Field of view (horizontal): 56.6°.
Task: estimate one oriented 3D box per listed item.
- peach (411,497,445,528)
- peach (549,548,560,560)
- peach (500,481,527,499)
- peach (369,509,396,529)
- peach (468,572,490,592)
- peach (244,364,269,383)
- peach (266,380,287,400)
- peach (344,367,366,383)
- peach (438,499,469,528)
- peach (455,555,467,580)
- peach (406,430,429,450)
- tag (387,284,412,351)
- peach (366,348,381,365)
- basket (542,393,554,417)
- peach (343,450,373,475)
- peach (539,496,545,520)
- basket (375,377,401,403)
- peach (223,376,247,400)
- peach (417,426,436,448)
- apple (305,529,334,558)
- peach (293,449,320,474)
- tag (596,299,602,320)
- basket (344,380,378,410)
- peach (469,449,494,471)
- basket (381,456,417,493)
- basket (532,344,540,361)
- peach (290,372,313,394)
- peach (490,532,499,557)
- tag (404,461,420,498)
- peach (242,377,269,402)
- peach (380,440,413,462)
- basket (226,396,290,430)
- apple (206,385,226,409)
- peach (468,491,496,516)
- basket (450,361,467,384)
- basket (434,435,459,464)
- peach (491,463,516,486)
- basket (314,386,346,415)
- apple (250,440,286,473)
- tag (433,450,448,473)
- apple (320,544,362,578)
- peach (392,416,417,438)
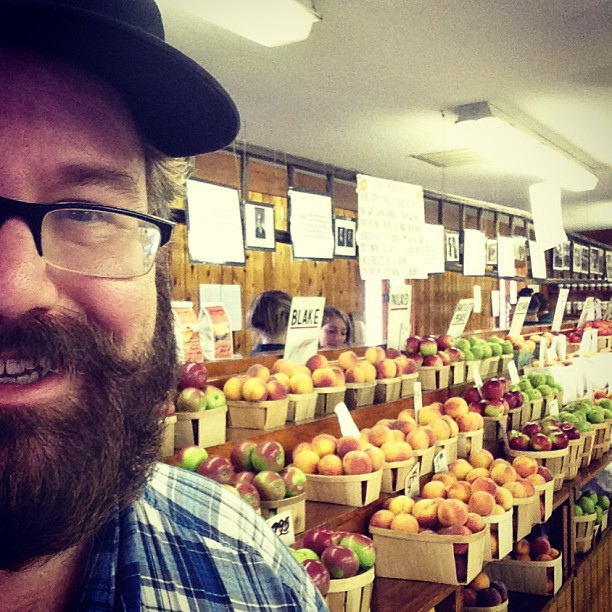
[{"bbox_3d":[0.455,0.769,2.127,0.101,0.050,0.099,-10,2,9],"label":"peach"},{"bbox_3d":[1.316,1.314,3.018,0.047,0.044,0.043,3,11,18],"label":"peach"},{"bbox_3d":[0.920,0.809,2.518,0.093,0.039,0.081,0,12,-9],"label":"peach"},{"bbox_3d":[0.283,0.780,2.104,0.062,0.051,0.061,17,26,28],"label":"peach"},{"bbox_3d":[0.795,1.265,2.601,0.086,0.039,0.076,-20,-4,-12],"label":"peach"},{"bbox_3d":[-0.209,0.282,2.407,0.078,0.055,0.078,-7,12,-11],"label":"peach"},{"bbox_3d":[-0.109,0.339,2.279,0.075,0.071,0.069,-3,-2,4],"label":"peach"},{"bbox_3d":[0.224,0.323,2.640,0.082,0.072,0.091,27,-7,-10],"label":"peach"},{"bbox_3d":[0.543,0.765,2.104,0.110,0.087,0.104,2,3,12],"label":"peach"},{"bbox_3d":[0.545,0.917,2.001,0.044,0.063,0.073,5,2,22],"label":"peach"},{"bbox_3d":[0.466,0.562,2.380,0.087,0.072,0.075,27,-20,-16],"label":"peach"},{"bbox_3d":[0.596,0.087,3.509,0.019,0.429,0.193,-1,-2,-33],"label":"tag"},{"bbox_3d":[0.337,0.251,2.842,0.084,0.066,0.074,4,-11,-2],"label":"peach"},{"bbox_3d":[1.600,0.655,3.765,0.119,0.145,0.031,-1,4,-44],"label":"basket"},{"bbox_3d":[0.197,0.571,2.079,0.096,0.079,0.046,8,-31,-9],"label":"peach"},{"bbox_3d":[1.118,0.958,2.697,0.019,0.098,0.037,4,4,34],"label":"peach"},{"bbox_3d":[0.408,0.414,2.827,0.111,0.067,0.147,1,1,-1],"label":"basket"},{"bbox_3d":[-0.290,0.326,2.273,0.094,0.088,0.083,10,-29,-10],"label":"peach"},{"bbox_3d":[0.524,0.576,2.488,0.091,0.070,0.076,-7,-4,10],"label":"peach"},{"bbox_3d":[0.035,0.734,1.767,0.072,0.067,0.065,6,2,12],"label":"apple"},{"bbox_3d":[0.017,0.590,2.176,0.088,0.093,0.081,-33,-25,-1],"label":"peach"},{"bbox_3d":[4.346,0.045,8.456,0.062,0.281,0.392,3,3,27],"label":"tag"},{"bbox_3d":[0.255,0.422,2.701,0.122,0.083,0.157,2,3,29],"label":"basket"},{"bbox_3d":[0.836,0.729,2.705,0.095,0.079,0.101,-26,46,-19],"label":"peach"},{"bbox_3d":[0.385,0.676,2.304,0.203,0.133,0.068,-1,4,-42],"label":"basket"},{"bbox_3d":[1.888,0.378,4.656,0.045,0.138,0.263,3,3,21],"label":"basket"},{"bbox_3d":[-0.008,0.325,2.398,0.092,0.087,0.088,-1,0,21],"label":"peach"},{"bbox_3d":[0.758,0.960,2.285,0.029,0.115,0.048,3,3,25],"label":"peach"},{"bbox_3d":[0.424,0.703,2.306,0.016,0.138,0.157,9,28,33],"label":"tag"},{"bbox_3d":[-0.196,0.319,2.232,0.093,0.075,0.098,-9,13,-2],"label":"peach"},{"bbox_3d":[0.360,0.579,2.260,0.094,0.069,0.080,-6,-19,-9],"label":"peach"},{"bbox_3d":[-0.187,0.419,2.247,0.194,0.066,0.145,-4,-8,27],"label":"basket"},{"bbox_3d":[-0.339,0.335,2.100,0.075,0.062,0.083,6,-14,-9],"label":"apple"},{"bbox_3d":[0.704,0.777,2.264,0.095,0.045,0.095,41,23,5],"label":"peach"},{"bbox_3d":[0.894,0.392,3.369,0.108,0.106,0.180,-2,-1,28],"label":"basket"},{"bbox_3d":[0.666,0.658,2.641,0.133,0.089,0.142,-2,0,26],"label":"basket"},{"bbox_3d":[0.894,0.761,2.582,0.111,0.096,0.088,2,4,-13],"label":"peach"},{"bbox_3d":[0.100,0.410,2.506,0.115,0.083,0.137,-2,-6,28],"label":"basket"},{"bbox_3d":[-0.125,0.495,1.876,0.112,0.110,0.102,9,-24,-45],"label":"apple"},{"bbox_3d":[0.594,0.692,2.530,0.012,0.104,0.111,-2,-37,37],"label":"tag"},{"bbox_3d":[0.103,0.757,1.685,0.106,0.085,0.093,5,-16,-9],"label":"apple"},{"bbox_3d":[0.434,0.532,2.502,0.086,0.069,0.092,-15,-27,22],"label":"peach"}]
